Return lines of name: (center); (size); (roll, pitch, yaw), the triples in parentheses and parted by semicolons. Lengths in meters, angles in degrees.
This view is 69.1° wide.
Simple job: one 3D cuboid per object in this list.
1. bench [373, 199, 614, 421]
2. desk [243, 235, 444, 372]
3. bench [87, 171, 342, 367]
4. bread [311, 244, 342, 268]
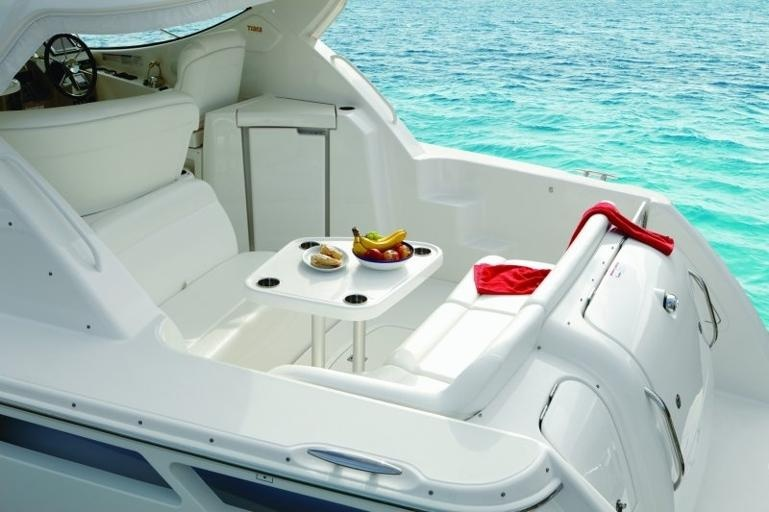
bench: (0.315, 0.155, 1.681); (0.461, 0.351, 1.030); (18, 38, 26)
desk: (-0.122, 0.051, 1.973); (0.511, 0.525, 0.585); (10, 30, 15)
bench: (-0.642, 0.043, 2.254); (0.718, 0.580, 0.942); (12, 31, 14)
bread: (-0.198, -0.001, 1.946); (0.083, 0.029, 0.085); (11, 26, 6)
